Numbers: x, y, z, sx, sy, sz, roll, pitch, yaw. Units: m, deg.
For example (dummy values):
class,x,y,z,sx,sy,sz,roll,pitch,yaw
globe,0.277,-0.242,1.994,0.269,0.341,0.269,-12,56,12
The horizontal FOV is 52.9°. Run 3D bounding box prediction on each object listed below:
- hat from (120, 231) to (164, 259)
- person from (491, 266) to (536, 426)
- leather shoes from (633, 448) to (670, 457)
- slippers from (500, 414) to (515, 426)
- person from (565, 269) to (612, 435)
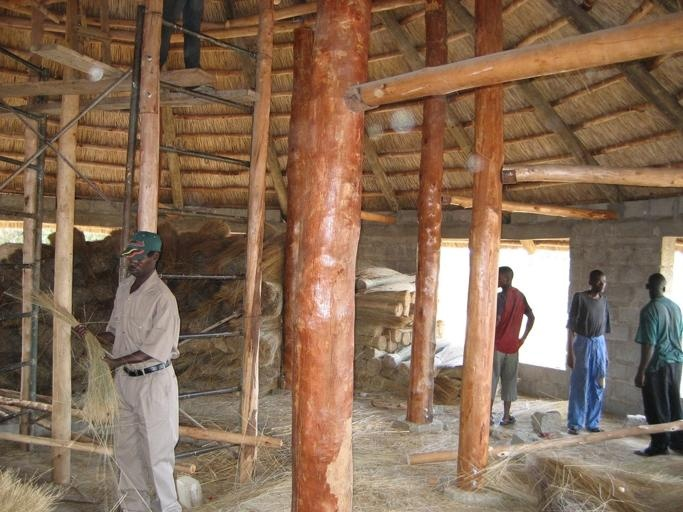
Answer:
class,x,y,z,sx,sy,sz,roll,pitch,yaw
hat,-1.662,-0.096,5.670,0.286,0.141,0.196,-1,4,-37
person,2.044,1.092,8.446,0.600,1.927,0.338,6,-8,-26
leather shoes,3.317,2.061,7.320,0.336,0.133,0.120,-1,-10,17
slippers,2.037,2.002,8.403,0.117,0.083,0.219,-3,-5,13
person,2.952,1.124,8.161,0.502,1.907,0.340,0,-8,10
